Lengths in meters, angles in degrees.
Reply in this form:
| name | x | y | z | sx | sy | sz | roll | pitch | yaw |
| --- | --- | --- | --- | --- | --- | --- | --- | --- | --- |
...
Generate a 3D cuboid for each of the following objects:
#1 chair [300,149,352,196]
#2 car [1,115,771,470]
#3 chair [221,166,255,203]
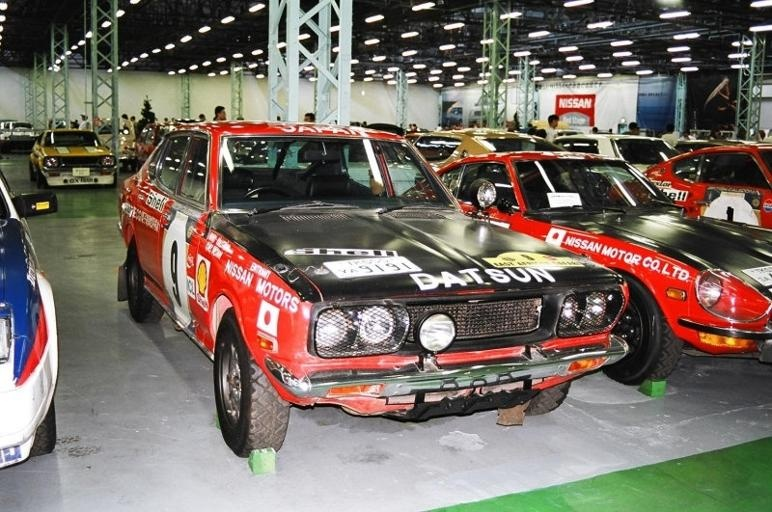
| name | x | y | z | sx | sy | sz | roll | pitch | yaw |
| --- | --- | --- | --- | --- | --- | --- | --- | --- | --- |
| chair | -0.516 | -0.720 | 4.221 | 0.411 | 0.444 | 0.514 | -1 | 1 | -16 |
| car | -0.358 | 0.099 | 3.782 | 2.067 | 2.316 | 3.263 | -8 | 16 | -38 |
| chair | -1.167 | -0.569 | 3.867 | 0.357 | 0.186 | 0.118 | -3 | 4 | -40 |
